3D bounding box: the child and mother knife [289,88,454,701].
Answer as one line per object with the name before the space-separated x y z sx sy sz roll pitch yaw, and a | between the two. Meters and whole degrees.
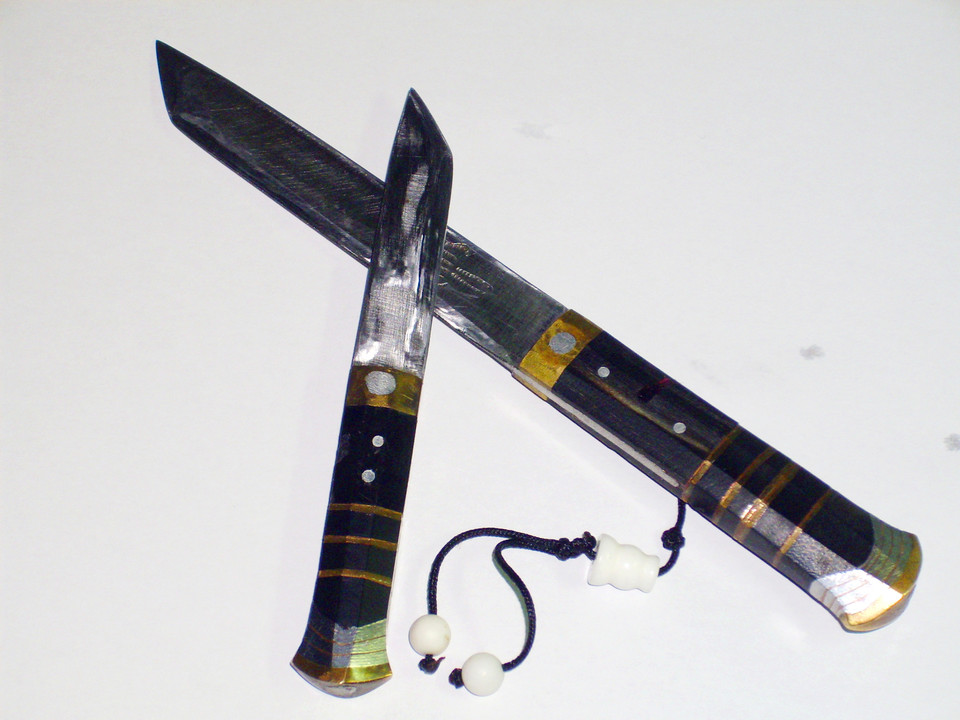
child and mother knife | -0.153 0.018 2.133 0.270 0.908 0.136 -28 -35 35
